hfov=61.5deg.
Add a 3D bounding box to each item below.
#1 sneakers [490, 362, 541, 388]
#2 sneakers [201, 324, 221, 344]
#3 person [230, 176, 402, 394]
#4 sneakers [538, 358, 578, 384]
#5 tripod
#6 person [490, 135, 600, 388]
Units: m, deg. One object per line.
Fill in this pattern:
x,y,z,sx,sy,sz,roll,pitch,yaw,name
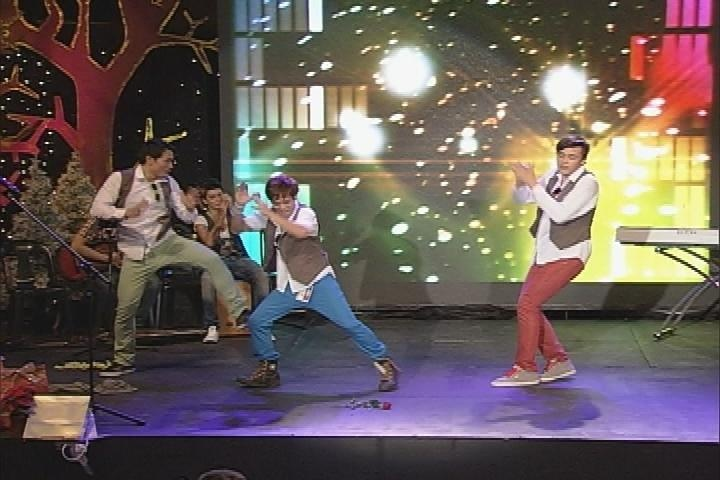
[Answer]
1.213,1.061,4.786,0.483,0.153,0.142,1,-2,4,sneakers
-1.479,0.914,5.862,0.128,0.075,0.204,1,8,-3,sneakers
-0.403,0.329,4.652,1.144,1.627,0.403,-1,13,0,person
1.556,1.026,4.813,0.399,0.145,0.128,-11,1,10,sneakers
-2.423,0.290,4.887,0.798,1.662,2.476,-7,13,-26,tripod
1.449,0.169,4.740,0.593,1.927,0.807,7,15,31,person
